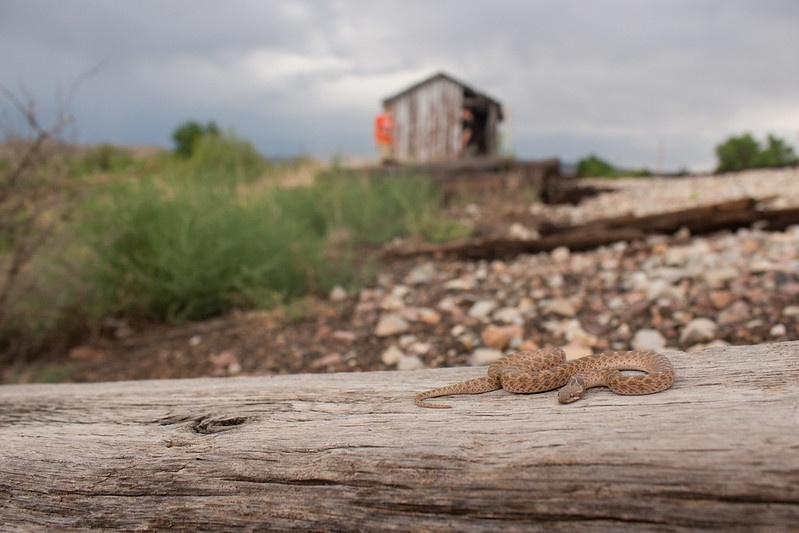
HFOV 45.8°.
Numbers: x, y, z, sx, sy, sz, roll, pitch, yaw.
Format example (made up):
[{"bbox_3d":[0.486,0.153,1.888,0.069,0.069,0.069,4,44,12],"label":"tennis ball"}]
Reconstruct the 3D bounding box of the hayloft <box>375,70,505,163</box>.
[{"bbox_3d":[1.390,-3.221,22.588,2.997,1.930,3.911,3,-3,18],"label":"hayloft"}]

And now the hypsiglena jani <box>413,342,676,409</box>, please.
[{"bbox_3d":[1.363,0.975,8.470,2.053,0.279,1.088,-3,5,6],"label":"hypsiglena jani"}]
